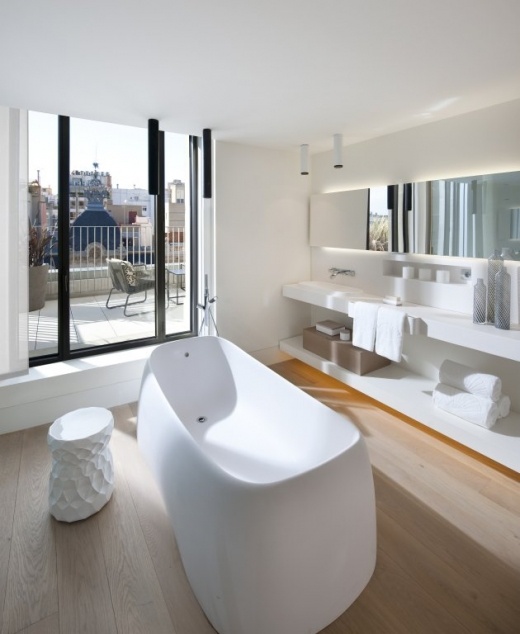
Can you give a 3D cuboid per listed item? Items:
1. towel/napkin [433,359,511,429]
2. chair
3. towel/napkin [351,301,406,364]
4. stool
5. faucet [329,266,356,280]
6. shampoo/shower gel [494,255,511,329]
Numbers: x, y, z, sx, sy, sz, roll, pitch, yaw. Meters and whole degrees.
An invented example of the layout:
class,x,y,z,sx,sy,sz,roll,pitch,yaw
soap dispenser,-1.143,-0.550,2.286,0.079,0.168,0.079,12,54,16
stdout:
class,x,y,z,sx,sy,sz,roll,pitch,yaw
towel/napkin,1.291,0.456,2.730,0.303,0.272,0.456,-9,15,-36
chair,-1.208,-0.304,4.112,0.322,0.510,0.390,14,20,34
towel/napkin,0.860,0.096,3.159,0.049,0.292,0.382,-5,12,-22
stool,-0.924,0.731,2.249,0.323,0.413,0.425,-4,12,-19
faucet,0.750,-0.391,4.023,0.029,0.113,0.364,-6,14,-28
shampoo/shower gel,1.412,-0.128,2.515,0.101,0.380,0.133,4,12,24
